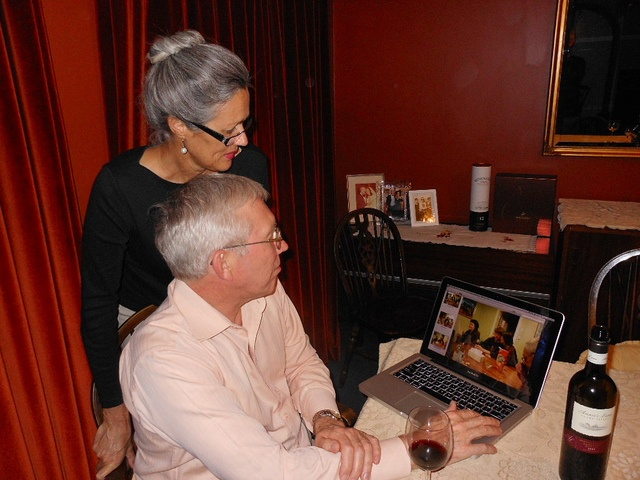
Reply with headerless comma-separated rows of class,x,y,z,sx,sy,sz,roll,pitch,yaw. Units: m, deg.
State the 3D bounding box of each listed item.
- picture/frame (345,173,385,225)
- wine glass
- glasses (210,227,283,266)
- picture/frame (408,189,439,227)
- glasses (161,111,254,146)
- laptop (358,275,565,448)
picture/frame,0.327,-0.298,3.361,0.380,0.469,0.048,0,-2,-4
wine glass,0.292,0.555,1.262,0.090,0.244,0.100,6,22,30
glasses,-0.208,0.001,1.411,0.152,0.048,0.114,-15,16,-15
picture/frame,0.756,-0.233,3.439,0.238,0.301,0.022,-4,1,-10
glasses,-0.357,-0.374,1.603,0.185,0.054,0.187,29,14,-5
laptop,0.486,0.394,1.524,0.511,0.361,0.542,-15,24,-40
